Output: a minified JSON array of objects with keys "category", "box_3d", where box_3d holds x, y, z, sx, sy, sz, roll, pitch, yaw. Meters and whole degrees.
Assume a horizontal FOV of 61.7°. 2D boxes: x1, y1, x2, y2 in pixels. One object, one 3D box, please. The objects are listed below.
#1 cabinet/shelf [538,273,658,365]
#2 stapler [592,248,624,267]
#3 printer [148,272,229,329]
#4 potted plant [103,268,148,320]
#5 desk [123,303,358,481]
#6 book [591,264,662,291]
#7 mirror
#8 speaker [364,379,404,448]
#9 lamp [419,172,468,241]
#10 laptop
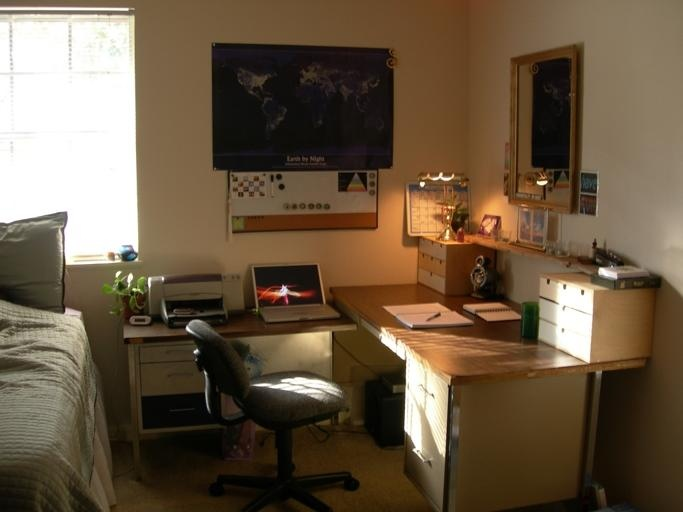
[{"category":"cabinet/shelf","box_3d":[1.235,0.293,2.827,0.335,0.349,0.466,-1,5,-15]},{"category":"stapler","box_3d":[1.330,0.005,2.844,0.061,0.041,0.106,0,16,-8]},{"category":"printer","box_3d":[-0.978,0.281,3.694,0.521,0.356,0.515,-2,5,-22]},{"category":"potted plant","box_3d":[-1.350,0.265,3.539,0.199,0.148,0.203,0,22,31]},{"category":"desk","box_3d":[-0.617,0.873,3.587,1.266,0.906,0.644,-1,1,-21]},{"category":"book","box_3d":[1.303,0.097,2.614,0.187,0.064,0.143,-3,10,-17]},{"category":"mirror","box_3d":[1.149,-0.720,3.266,0.126,0.888,0.579,-3,14,-12]},{"category":"speaker","box_3d":[0.221,0.944,3.787,0.289,0.476,0.462,-1,3,-9]},{"category":"lamp","box_3d":[0.698,-0.367,3.940,0.339,0.446,0.363,3,14,12]},{"category":"laptop","box_3d":[-0.319,0.154,3.674,0.406,0.269,0.392,-2,6,-18]}]
